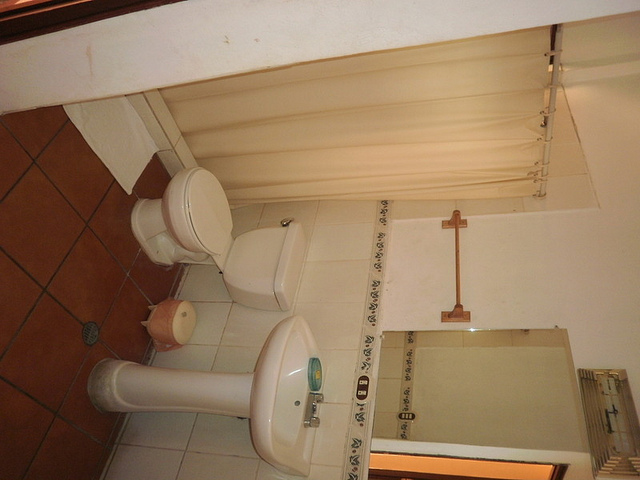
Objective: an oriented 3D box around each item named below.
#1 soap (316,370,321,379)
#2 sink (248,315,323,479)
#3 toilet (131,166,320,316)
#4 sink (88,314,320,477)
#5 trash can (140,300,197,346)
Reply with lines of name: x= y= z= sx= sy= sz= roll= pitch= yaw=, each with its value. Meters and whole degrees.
soap: x=-0.008 y=0.596 z=1.869 sx=0.022 sy=0.039 sz=0.042 roll=2 pitch=13 yaw=8
sink: x=-0.151 y=0.667 z=1.835 sx=0.223 sy=0.621 sz=0.440 roll=-5 pitch=-33 yaw=23
toilet: x=-0.552 y=-0.053 z=2.367 sx=0.816 sy=0.810 sz=0.773 roll=-12 pitch=-35 yaw=31
sink: x=-0.571 y=0.679 z=1.833 sx=0.997 sy=0.601 sz=0.382 roll=2 pitch=-32 yaw=3
trash can: x=-0.801 y=0.437 z=2.298 sx=0.254 sy=0.248 sz=0.249 roll=-8 pitch=18 yaw=-36
